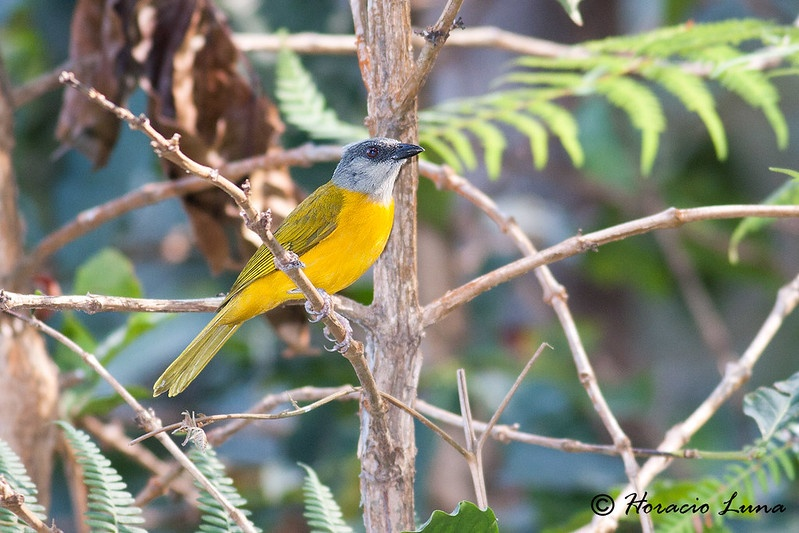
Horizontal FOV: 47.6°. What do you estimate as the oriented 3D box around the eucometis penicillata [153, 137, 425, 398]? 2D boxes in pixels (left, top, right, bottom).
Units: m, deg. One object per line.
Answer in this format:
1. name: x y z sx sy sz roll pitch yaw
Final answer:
1. eucometis penicillata: -0.555 -0.040 4.668 1.521 0.969 0.438 -14 -17 21
